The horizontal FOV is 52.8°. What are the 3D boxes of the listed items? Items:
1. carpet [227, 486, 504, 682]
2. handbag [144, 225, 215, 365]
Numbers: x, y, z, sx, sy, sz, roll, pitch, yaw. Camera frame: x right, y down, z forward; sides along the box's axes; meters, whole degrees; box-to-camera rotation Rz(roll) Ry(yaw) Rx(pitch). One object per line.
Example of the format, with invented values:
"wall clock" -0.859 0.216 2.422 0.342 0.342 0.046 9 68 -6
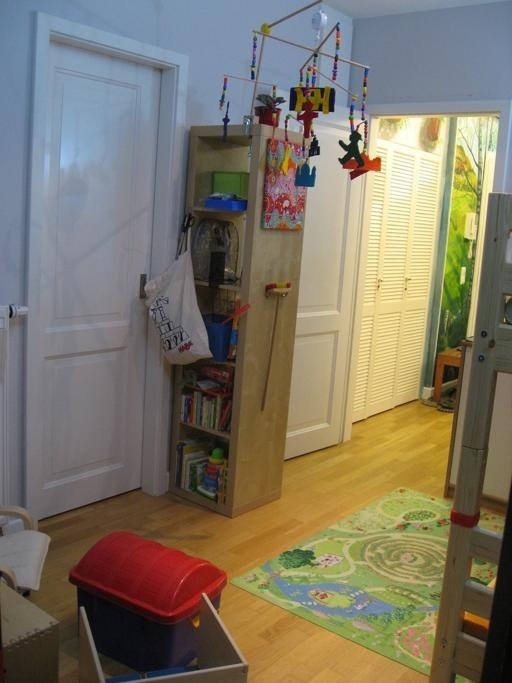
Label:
"carpet" 0.627 1.018 2.370 0.829 0.052 1.356 11 10 42
"handbag" -0.419 -0.173 2.616 0.288 0.631 0.264 -4 -11 -17
